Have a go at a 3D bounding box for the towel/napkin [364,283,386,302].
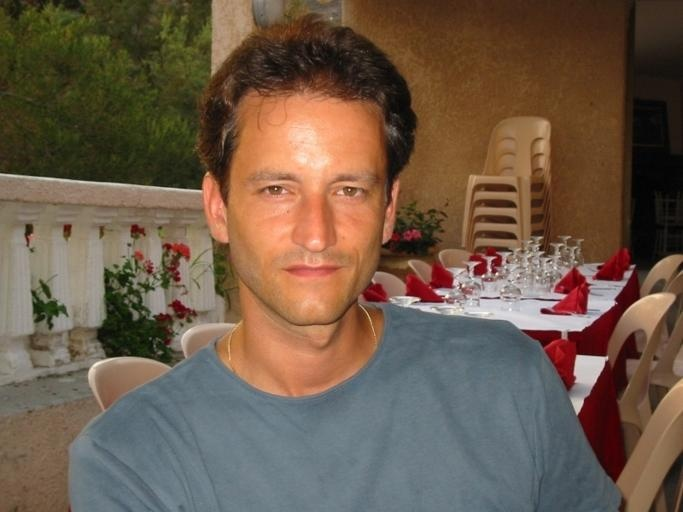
[{"bbox_3d":[0.173,0.202,3.749,0.112,0.057,0.151,2,29,2],"label":"towel/napkin"}]
